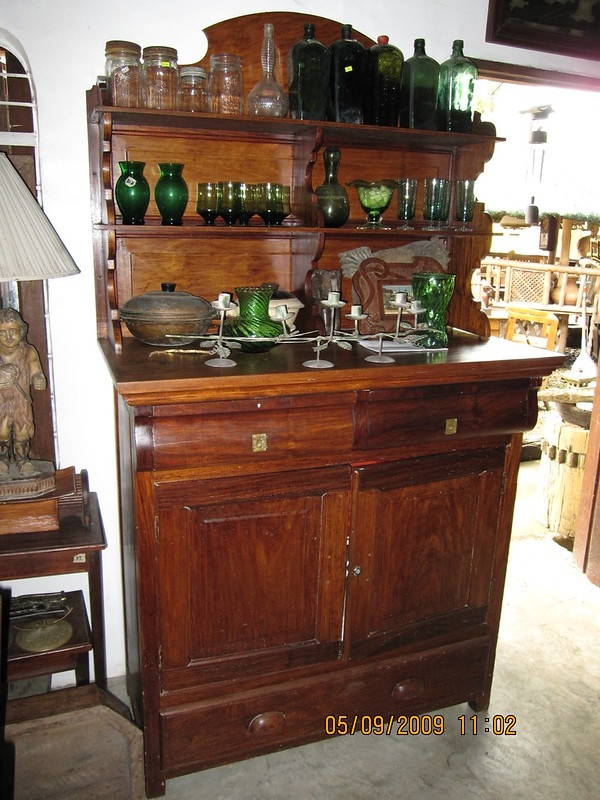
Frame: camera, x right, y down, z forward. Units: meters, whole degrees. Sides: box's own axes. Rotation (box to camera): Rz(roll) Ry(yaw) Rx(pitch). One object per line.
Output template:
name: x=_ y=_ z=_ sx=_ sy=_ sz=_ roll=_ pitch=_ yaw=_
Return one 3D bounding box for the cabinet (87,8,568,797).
cabinet: x=0.065 y=-0.054 z=1.722 sx=1.142 sy=1.936 sz=0.697 roll=-4 pitch=15 yaw=-21

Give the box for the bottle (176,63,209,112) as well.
bottle: x=-0.257 y=-0.733 z=1.514 sx=0.067 sy=0.121 sz=0.161 roll=1 pitch=14 yaw=-4

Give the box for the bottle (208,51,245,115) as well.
bottle: x=-0.183 y=-0.781 z=1.602 sx=0.086 sy=0.134 sz=0.084 roll=0 pitch=17 yaw=0

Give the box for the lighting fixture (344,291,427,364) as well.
lighting fixture: x=0.222 y=-0.193 z=1.682 sx=0.228 sy=0.171 sz=0.191 roll=4 pitch=6 yaw=34

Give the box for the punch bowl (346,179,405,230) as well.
punch bowl: x=0.213 y=-0.572 z=1.901 sx=0.187 sy=0.154 sz=0.169 roll=-3 pitch=19 yaw=-6

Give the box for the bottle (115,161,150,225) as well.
bottle: x=-0.404 y=-0.494 z=1.530 sx=0.074 sy=0.145 sz=0.151 roll=-3 pitch=15 yaw=-19

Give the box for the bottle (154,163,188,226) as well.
bottle: x=-0.317 y=-0.511 z=1.583 sx=0.084 sy=0.141 sz=0.085 roll=0 pitch=2 yaw=0

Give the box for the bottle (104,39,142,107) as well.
bottle: x=-0.397 y=-0.723 z=1.440 sx=0.079 sy=0.150 sz=0.173 roll=-3 pitch=15 yaw=-16

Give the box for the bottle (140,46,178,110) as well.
bottle: x=-0.330 y=-0.747 z=1.505 sx=0.086 sy=0.133 sz=0.083 roll=3 pitch=17 yaw=-1
